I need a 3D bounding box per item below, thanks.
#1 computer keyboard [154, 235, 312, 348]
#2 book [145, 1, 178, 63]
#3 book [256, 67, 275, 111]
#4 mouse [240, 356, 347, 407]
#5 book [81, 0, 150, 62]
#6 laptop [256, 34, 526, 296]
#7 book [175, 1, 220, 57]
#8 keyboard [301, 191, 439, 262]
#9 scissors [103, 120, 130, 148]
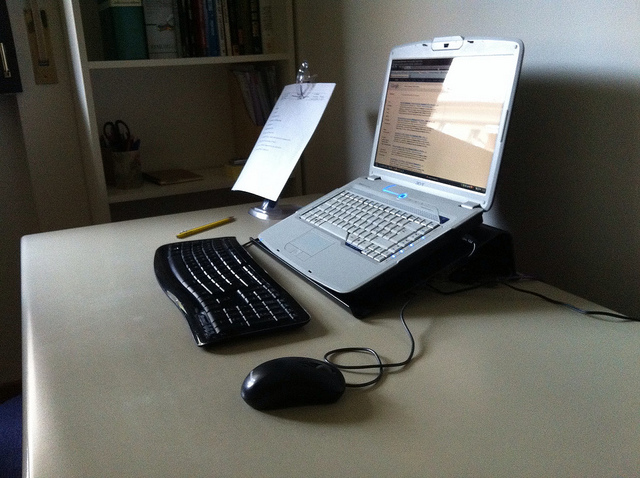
[{"bbox_3d":[-0.165,0.050,0.886,0.149,0.032,0.294,-10,26,-21],"label":"computer keyboard"},{"bbox_3d":[-0.497,-0.653,1.556,0.094,0.157,0.070,-7,27,-15],"label":"book"},{"bbox_3d":[-0.194,-0.531,1.748,0.022,0.131,0.121,-13,29,-26],"label":"book"},{"bbox_3d":[-0.044,0.180,0.682,0.117,0.042,0.067,-6,21,-9],"label":"mouse"},{"bbox_3d":[-0.638,-0.659,1.565,0.101,0.200,0.202,-15,39,-32],"label":"book"},{"bbox_3d":[0.119,-0.187,0.999,0.483,0.349,0.383,-21,26,-24],"label":"laptop"},{"bbox_3d":[-0.394,-0.674,1.598,0.127,0.156,0.066,-7,27,-15],"label":"book"},{"bbox_3d":[0.089,-0.039,1.028,0.137,0.067,0.291,-16,32,-30],"label":"keyboard"},{"bbox_3d":[-0.697,-0.365,1.707,0.077,0.087,0.231,-10,29,-21],"label":"scissors"}]
